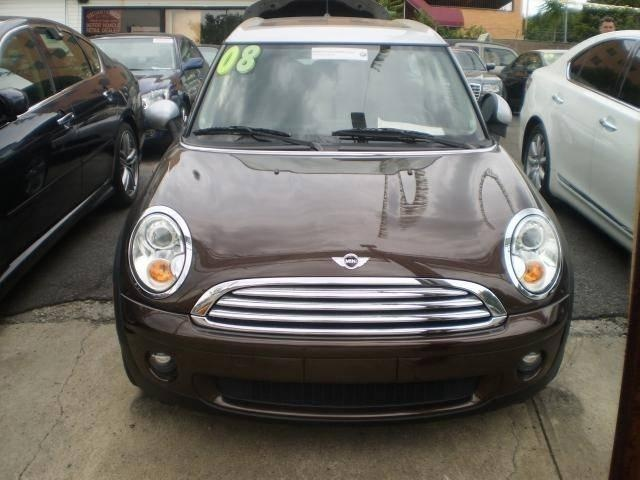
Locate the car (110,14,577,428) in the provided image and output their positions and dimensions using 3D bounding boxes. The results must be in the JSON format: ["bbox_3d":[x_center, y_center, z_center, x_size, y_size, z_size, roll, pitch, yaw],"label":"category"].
[{"bbox_3d":[0.146,-0.250,2.723,1.486,1.205,2.673,0,33,2],"label":"car"}]

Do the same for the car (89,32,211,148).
[{"bbox_3d":[-2.769,-2.950,8.426,1.808,1.717,3.875,2,22,3],"label":"car"}]
